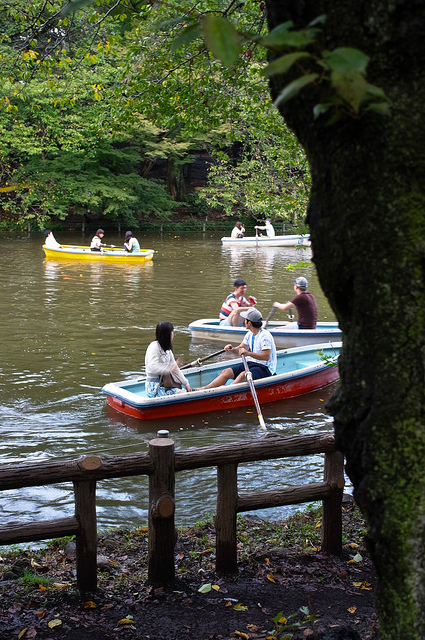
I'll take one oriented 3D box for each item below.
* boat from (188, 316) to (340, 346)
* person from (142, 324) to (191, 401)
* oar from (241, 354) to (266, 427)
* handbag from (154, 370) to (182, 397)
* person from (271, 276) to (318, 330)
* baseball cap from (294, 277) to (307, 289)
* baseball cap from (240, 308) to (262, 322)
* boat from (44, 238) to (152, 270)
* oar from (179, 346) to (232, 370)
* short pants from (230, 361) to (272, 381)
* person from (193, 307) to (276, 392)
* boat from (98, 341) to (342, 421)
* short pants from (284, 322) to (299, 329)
[{"bbox_3d":[0.851,0.218,13.574,2.488,0.333,0.833,2,21,3],"label":"boat"},{"bbox_3d":[-0.582,0.557,9.888,0.643,0.878,0.442,-8,43,-11],"label":"person"},{"bbox_3d":[0.473,0.822,9.373,0.295,0.730,1.021,3,6,0],"label":"oar"},{"bbox_3d":[-0.506,0.707,9.219,0.190,0.321,0.355,-11,-3,20],"label":"handbag"},{"bbox_3d":[1.384,-0.247,13.074,0.592,0.876,1.367,4,6,8],"label":"person"},{"bbox_3d":[1.357,-0.554,12.478,0.176,0.161,0.259,4,6,5],"label":"baseball cap"},{"bbox_3d":[0.435,-0.026,9.689,0.180,0.107,0.267,-11,22,-41],"label":"baseball cap"},{"bbox_3d":[-3.780,-2.157,26.232,3.589,0.814,2.399,2,5,-6],"label":"boat"},{"bbox_3d":[-0.126,0.564,11.574,0.652,0.087,0.068,-21,25,-6],"label":"oar"},{"bbox_3d":[0.507,0.643,9.855,0.397,0.094,0.221,-7,23,-29],"label":"short pants"},{"bbox_3d":[0.289,0.402,9.910,1.270,0.975,0.599,-6,5,-25],"label":"person"},{"bbox_3d":[0.607,0.784,9.984,3.774,0.598,1.154,-6,9,-32],"label":"boat"},{"bbox_3d":[1.325,0.097,13.515,0.229,0.105,0.539,3,5,6],"label":"short pants"}]
